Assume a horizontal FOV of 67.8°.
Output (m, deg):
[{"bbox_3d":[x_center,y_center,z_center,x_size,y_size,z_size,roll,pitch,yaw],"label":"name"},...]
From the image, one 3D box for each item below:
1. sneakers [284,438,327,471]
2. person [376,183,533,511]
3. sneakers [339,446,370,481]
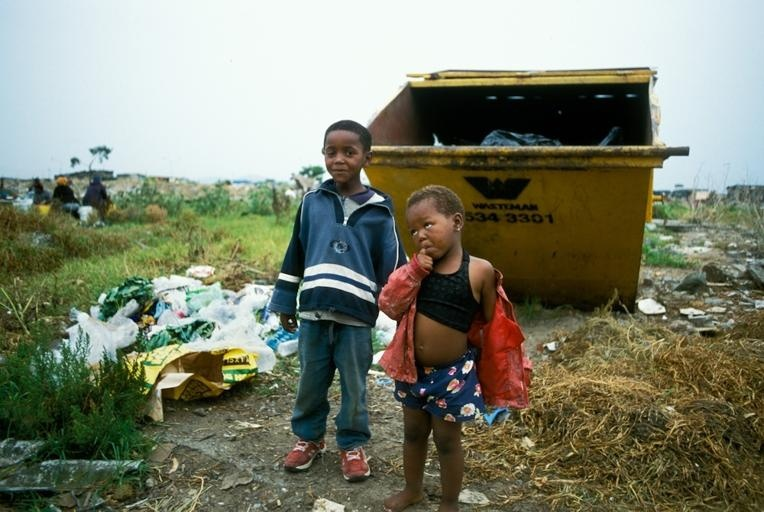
[{"bbox_3d":[-0.513,1.302,3.799,0.122,0.140,0.298,-1,-1,25],"label":"sneakers"},{"bbox_3d":[0.417,0.570,3.367,0.871,1.954,0.322,3,8,15],"label":"person"},{"bbox_3d":[-0.184,1.331,3.724,0.224,0.190,0.185,2,8,8],"label":"sneakers"}]
